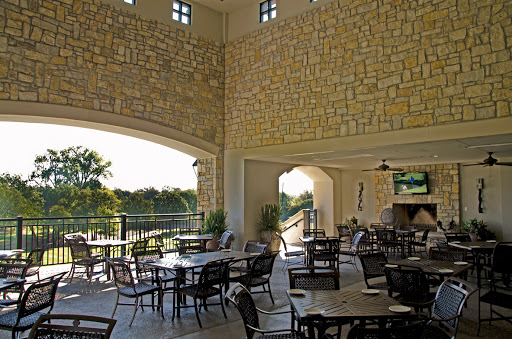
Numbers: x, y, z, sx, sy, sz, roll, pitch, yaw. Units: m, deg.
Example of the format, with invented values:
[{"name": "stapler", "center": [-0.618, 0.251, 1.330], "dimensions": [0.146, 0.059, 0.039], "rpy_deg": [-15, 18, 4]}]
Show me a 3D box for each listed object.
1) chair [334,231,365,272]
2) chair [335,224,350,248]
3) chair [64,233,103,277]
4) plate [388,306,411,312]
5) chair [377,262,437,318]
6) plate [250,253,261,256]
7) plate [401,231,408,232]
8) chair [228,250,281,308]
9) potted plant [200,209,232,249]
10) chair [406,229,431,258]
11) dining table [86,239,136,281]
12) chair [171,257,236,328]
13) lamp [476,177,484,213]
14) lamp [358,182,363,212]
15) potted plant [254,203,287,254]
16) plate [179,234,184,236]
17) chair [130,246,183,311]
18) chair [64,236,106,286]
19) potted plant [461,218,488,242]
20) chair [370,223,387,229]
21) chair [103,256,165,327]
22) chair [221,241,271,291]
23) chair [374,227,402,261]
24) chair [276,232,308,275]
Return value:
[{"name": "chair", "center": [2.662, 2.320, 11.086], "dimensions": [0.774, 1.010, 0.708], "rpy_deg": [4, -1, 12]}, {"name": "chair", "center": [3.304, 2.434, 13.939], "dimensions": [0.551, 0.841, 0.619], "rpy_deg": [-6, 4, -19]}, {"name": "chair", "center": [-4.431, 2.282, 9.973], "dimensions": [0.712, 1.019, 0.860], "rpy_deg": [2, 5, 25]}, {"name": "plate", "center": [2.219, 2.135, 5.889], "dimensions": [0.322, 0.079, 0.233], "rpy_deg": [1, -9, 14]}, {"name": "chair", "center": [2.897, 2.264, 7.340], "dimensions": [0.862, 1.317, 0.994], "rpy_deg": [0, 2, 44]}, {"name": "plate", "center": [-0.021, 1.907, 8.643], "dimensions": [0.130, 0.030, 0.130], "rpy_deg": [0, -4, 10]}, {"name": "plate", "center": [4.892, 2.019, 12.451], "dimensions": [0.156, 0.069, 0.442], "rpy_deg": [0, -9, 22]}, {"name": "chair", "center": [-0.075, 2.351, 8.523], "dimensions": [0.940, 1.275, 0.823], "rpy_deg": [3, 2, 43]}, {"name": "potted plant", "center": [-1.417, 1.907, 12.989], "dimensions": [1.018, 1.170, 1.005], "rpy_deg": [1, -14, -3]}, {"name": "chair", "center": [5.332, 2.389, 12.565], "dimensions": [0.650, 0.883, 0.572], "rpy_deg": [-1, -2, 37]}, {"name": "dining table", "center": [-3.873, 2.534, 10.327], "dimensions": [1.236, 0.935, 1.245], "rpy_deg": [-1, -6, 13]}, {"name": "chair", "center": [-1.095, 2.416, 7.835], "dimensions": [0.894, 1.252, 0.862], "rpy_deg": [3, 2, 42]}, {"name": "lamp", "center": [8.135, 0.943, 13.793], "dimensions": [0.207, 1.274, 0.173], "rpy_deg": [-1, -8, 30]}, {"name": "lamp", "center": [4.563, 1.161, 16.622], "dimensions": [0.249, 1.234, 0.154], "rpy_deg": [0, -8, 24]}, {"name": "potted plant", "center": [0.579, 2.028, 13.196], "dimensions": [0.816, 1.481, 0.940], "rpy_deg": [-2, -14, 32]}, {"name": "plate", "center": [-2.289, 2.014, 11.840], "dimensions": [0.093, 0.030, 0.096], "rpy_deg": [-2, -5, 28]}, {"name": "chair", "center": [-2.351, 2.301, 9.127], "dimensions": [0.834, 1.070, 0.702], "rpy_deg": [17, -33, -40]}, {"name": "chair", "center": [-4.421, 2.297, 9.964], "dimensions": [0.753, 1.040, 0.834], "rpy_deg": [1, 4, 0]}, {"name": "potted plant", "center": [7.840, 2.131, 13.504], "dimensions": [0.692, 0.787, 0.705], "rpy_deg": [-3, -6, 7]}, {"name": "chair", "center": [4.793, 2.187, 14.862], "dimensions": [0.402, 0.294, 0.405], "rpy_deg": [-1, -2, 16]}, {"name": "chair", "center": [-2.513, 2.414, 7.881], "dimensions": [0.768, 1.198, 0.930], "rpy_deg": [-1, -1, 39]}, {"name": "chair", "center": [-0.054, 2.364, 8.581], "dimensions": [0.864, 1.352, 1.003], "rpy_deg": [4, -5, -43]}, {"name": "chair", "center": [4.235, 2.513, 12.643], "dimensions": [0.844, 1.135, 0.881], "rpy_deg": [2, -17, -27]}, {"name": "chair", "center": [1.059, 2.326, 10.927], "dimensions": [0.811, 1.023, 0.694], "rpy_deg": [-2, -6, -10]}]
